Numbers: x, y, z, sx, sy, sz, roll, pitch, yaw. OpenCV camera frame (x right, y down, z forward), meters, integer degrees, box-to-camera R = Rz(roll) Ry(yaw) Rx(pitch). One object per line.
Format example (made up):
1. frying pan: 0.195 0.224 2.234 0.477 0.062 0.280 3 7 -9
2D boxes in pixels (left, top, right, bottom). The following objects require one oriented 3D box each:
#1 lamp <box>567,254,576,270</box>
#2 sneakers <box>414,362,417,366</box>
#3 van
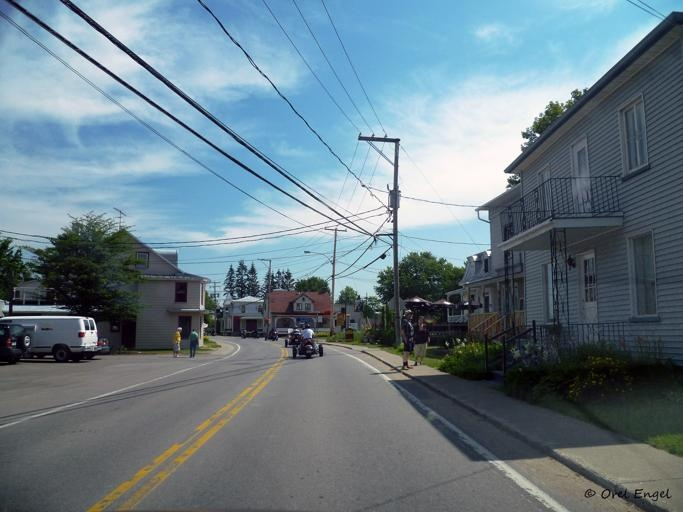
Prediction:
1. lamp: 7.429 0.164 18.931 0.166 0.502 0.367 -1 0 -3
2. sneakers: 3.002 4.334 23.690 0.107 0.125 0.119 -5 -8 24
3. van: -15.150 4.220 30.325 4.265 1.977 2.483 2 -10 2
